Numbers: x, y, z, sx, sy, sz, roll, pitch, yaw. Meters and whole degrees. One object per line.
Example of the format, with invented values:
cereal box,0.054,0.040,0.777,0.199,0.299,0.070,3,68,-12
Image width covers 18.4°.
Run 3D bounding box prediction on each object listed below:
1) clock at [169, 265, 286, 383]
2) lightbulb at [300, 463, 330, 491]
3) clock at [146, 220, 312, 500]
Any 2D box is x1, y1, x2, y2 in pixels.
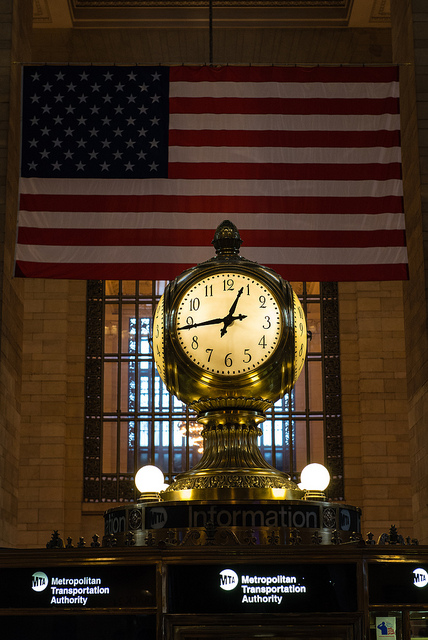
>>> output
clock,0.028,0.016,2.756,0.215,0.235,0.079,1,-7,1
lightbulb,0.220,0.357,3.013,0.059,0.062,0.068,-7,-6,-36
clock,0.058,0.074,2.857,0.279,0.547,0.293,-1,-1,1
